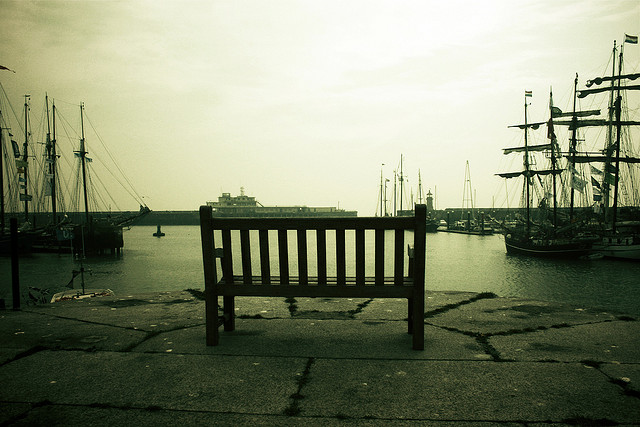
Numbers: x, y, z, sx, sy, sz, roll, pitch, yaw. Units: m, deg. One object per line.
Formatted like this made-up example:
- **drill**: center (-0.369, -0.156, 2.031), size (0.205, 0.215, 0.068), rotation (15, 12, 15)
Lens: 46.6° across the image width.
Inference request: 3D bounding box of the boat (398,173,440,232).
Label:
- **boat**: center (4.966, -0.710, 37.769), size (0.876, 2.905, 3.437), rotation (-18, -20, 28)

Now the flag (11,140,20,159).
- **flag**: center (-36.368, -7.670, 88.487), size (0.443, 2.065, 4.655), rotation (1, 0, -17)

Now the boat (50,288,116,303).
- **boat**: center (-13.522, 4.599, 42.212), size (3.106, 0.762, 6.828), rotation (1, 0, -19)
